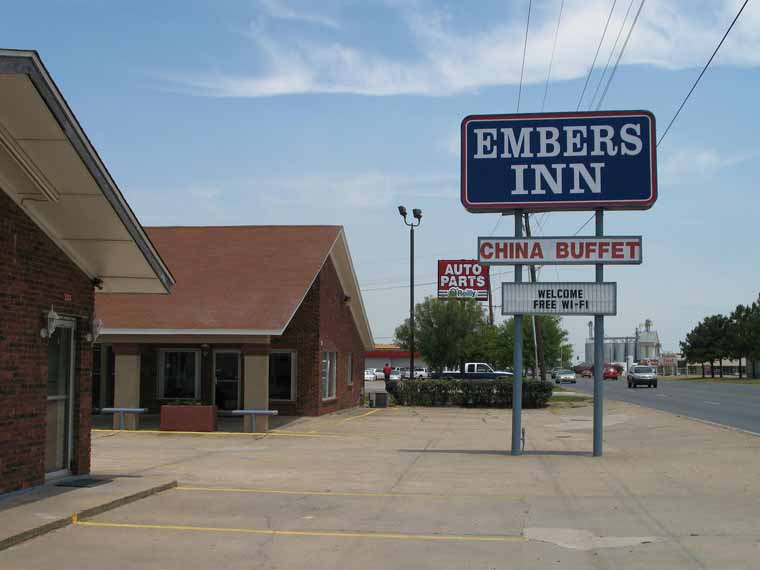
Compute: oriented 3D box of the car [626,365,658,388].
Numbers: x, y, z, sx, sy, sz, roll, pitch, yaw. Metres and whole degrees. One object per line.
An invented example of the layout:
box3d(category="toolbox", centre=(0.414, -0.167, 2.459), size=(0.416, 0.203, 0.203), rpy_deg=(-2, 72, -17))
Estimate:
box3d(category="car", centre=(21.960, 7.732, 65.716), size=(1.465, 1.304, 2.995), rpy_deg=(-1, -10, 3))
